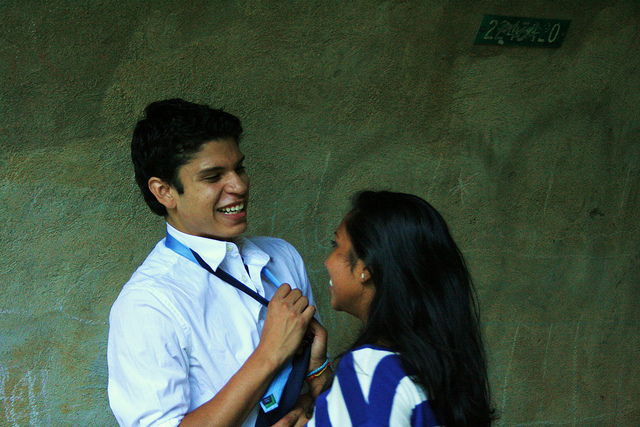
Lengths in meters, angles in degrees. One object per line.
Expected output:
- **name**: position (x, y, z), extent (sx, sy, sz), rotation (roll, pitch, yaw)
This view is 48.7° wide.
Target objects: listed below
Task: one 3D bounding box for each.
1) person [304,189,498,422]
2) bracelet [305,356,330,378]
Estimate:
- **person**: position (0.452, 0.517, 3.965), extent (0.930, 1.252, 0.418), rotation (-1, -15, 11)
- **bracelet**: position (-0.018, 0.905, 4.122), extent (0.108, 0.027, 0.108), rotation (-34, -12, 3)
